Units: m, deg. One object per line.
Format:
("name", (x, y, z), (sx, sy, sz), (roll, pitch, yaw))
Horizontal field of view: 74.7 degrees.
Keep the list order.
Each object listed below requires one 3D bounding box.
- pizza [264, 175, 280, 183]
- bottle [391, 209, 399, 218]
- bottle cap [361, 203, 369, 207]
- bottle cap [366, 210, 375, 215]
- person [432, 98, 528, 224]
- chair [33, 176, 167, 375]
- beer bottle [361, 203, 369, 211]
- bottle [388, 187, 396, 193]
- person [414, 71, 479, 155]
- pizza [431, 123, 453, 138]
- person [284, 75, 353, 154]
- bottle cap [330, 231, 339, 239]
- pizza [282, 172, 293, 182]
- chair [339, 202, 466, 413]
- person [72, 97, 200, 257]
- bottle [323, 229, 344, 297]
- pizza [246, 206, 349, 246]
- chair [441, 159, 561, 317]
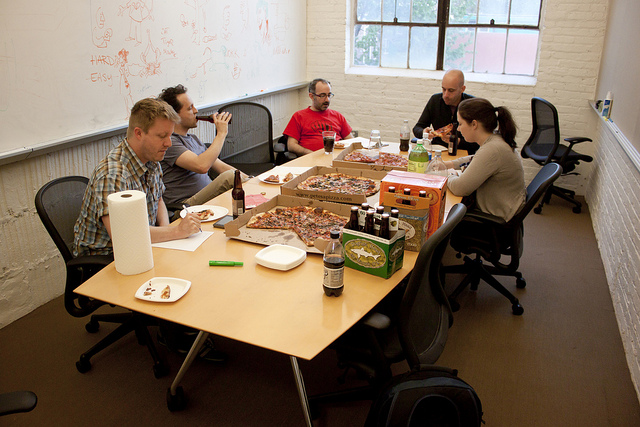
("pizza", (-0.404, -0.283, 3.492), (0.124, 0.045, 0.075), (-5, 25, -9))
("bottle", (0.420, -0.001, 2.327), (0.034, 0.036, 0.036), (2, 43, 7))
("bottle cap", (0.251, -0.046, 2.366), (0.021, 0.005, 0.022), (10, 18, 33))
("bottle cap", (0.281, -0.005, 2.310), (0.024, 0.009, 0.025), (2, 17, 5))
("person", (1.285, -0.425, 3.473), (0.533, 1.282, 0.718), (-42, 41, -24))
("chair", (-1.406, 0.381, 3.036), (0.880, 1.257, 0.894), (-13, 23, -34))
("beer bottle", (0.250, -0.035, 2.322), (0.032, 0.036, 0.038), (-1, 35, 0))
("bottle", (0.446, -0.145, 2.611), (0.028, 0.034, 0.029), (-17, 32, -24))
("person", (1.448, -1.078, 4.642), (0.596, 0.884, 0.803), (-13, 29, -25))
("pizza", (1.245, -0.835, 4.231), (0.112, 0.066, 0.197), (20, 63, 47))
("person", (0.022, -1.109, 4.863), (0.892, 0.833, 0.504), (-10, 22, -34))
("bottle cap", (0.084, 0.115, 2.225), (0.054, 0.044, 0.030), (-16, 27, -30))
("pizza", (-0.270, -0.295, 3.504), (0.058, 0.028, 0.077), (20, 47, 42))
("chair", (0.435, 0.539, 2.399), (0.608, 1.162, 0.718), (22, 42, 30))
("person", (-1.226, -0.161, 2.967), (0.821, 1.225, 0.706), (6, 10, -5))
("bottle", (0.069, 0.267, 2.247), (0.113, 0.339, 0.129), (0, 23, 3))
("pizza", (-0.130, 0.062, 2.840), (0.684, 0.093, 0.576), (14, 19, 25))
("chair", (1.463, 0.179, 3.584), (0.776, 1.142, 0.743), (2, 16, -4))
